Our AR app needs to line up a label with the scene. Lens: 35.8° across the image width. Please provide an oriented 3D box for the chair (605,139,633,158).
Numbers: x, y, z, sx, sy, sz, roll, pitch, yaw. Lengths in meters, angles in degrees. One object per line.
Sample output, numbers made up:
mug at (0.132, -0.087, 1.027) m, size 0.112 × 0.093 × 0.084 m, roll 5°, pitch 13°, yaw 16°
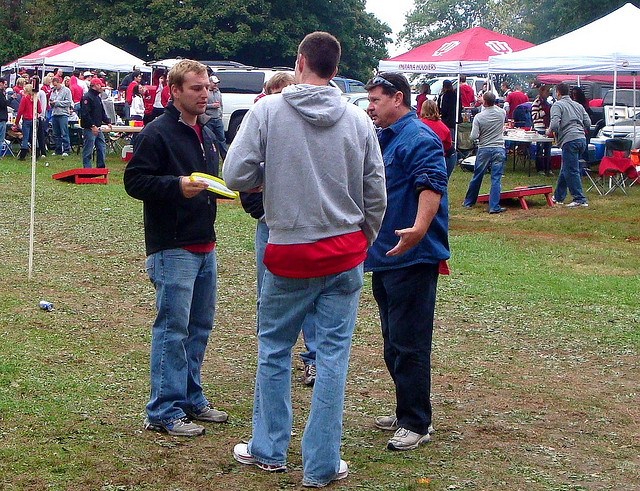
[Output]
chair at (5.623, -1.885, 18.797) m, size 0.441 × 0.414 × 0.605 m, roll 4°, pitch -20°, yaw 7°

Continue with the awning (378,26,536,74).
awning at (3.094, -4.974, 24.786) m, size 4.545 × 0.834 × 4.172 m, roll 3°, pitch 16°, yaw 19°

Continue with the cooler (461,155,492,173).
cooler at (3.405, -1.826, 21.887) m, size 0.756 × 0.399 × 0.807 m, roll 1°, pitch 3°, yaw 5°

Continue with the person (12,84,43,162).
person at (-6.348, -2.640, 21.041) m, size 0.660 × 1.562 × 0.716 m, roll 8°, pitch 7°, yaw 31°

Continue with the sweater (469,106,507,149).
sweater at (2.810, -2.002, 16.664) m, size 0.557 × 0.720 × 0.515 m, roll 2°, pitch 6°, yaw 7°

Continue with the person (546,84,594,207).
person at (4.370, -1.799, 17.375) m, size 0.725 × 2.126 × 1.573 m, roll 3°, pitch 7°, yaw 14°

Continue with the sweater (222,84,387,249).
sweater at (-0.326, -0.650, 7.940) m, size 1.615 × 1.197 × 1.020 m, roll 1°, pitch 3°, yaw -39°

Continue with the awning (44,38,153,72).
awning at (-5.897, -5.014, 26.419) m, size 1.698 × 0.388 × 1.479 m, roll 1°, pitch 2°, yaw 25°

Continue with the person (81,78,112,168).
person at (-4.445, -2.439, 19.417) m, size 0.495 × 1.779 × 1.319 m, roll 0°, pitch 7°, yaw -13°

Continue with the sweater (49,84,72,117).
sweater at (-5.618, -3.160, 21.344) m, size 0.432 × 0.668 × 0.626 m, roll -1°, pitch 6°, yaw -14°

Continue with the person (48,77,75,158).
person at (-5.721, -2.854, 21.801) m, size 0.466 × 1.768 × 1.483 m, roll -1°, pitch 7°, yaw -15°

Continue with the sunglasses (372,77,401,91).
sunglasses at (0.518, -1.336, 8.108) m, size 0.152 × 0.038 × 0.123 m, roll 18°, pitch -2°, yaw -40°

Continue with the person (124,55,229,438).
person at (-1.187, 0.026, 8.197) m, size 0.819 × 3.106 × 0.528 m, roll -1°, pitch 7°, yaw -21°

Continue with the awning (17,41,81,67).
awning at (-8.130, -5.624, 28.876) m, size 1.636 × 0.474 × 1.629 m, roll 1°, pitch 12°, yaw 36°

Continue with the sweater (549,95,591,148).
sweater at (4.178, -2.131, 16.801) m, size 0.575 × 0.884 × 0.464 m, roll 2°, pitch 7°, yaw 8°

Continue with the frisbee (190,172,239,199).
frisbee at (-0.860, -0.496, 7.943) m, size 0.314 × 0.038 × 0.218 m, roll 24°, pitch 23°, yaw 11°

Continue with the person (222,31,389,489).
person at (-0.123, 0.106, 7.721) m, size 1.220 × 3.545 × 0.448 m, roll 1°, pitch 7°, yaw 3°

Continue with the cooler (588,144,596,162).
cooler at (5.806, -2.022, 21.247) m, size 0.172 × 0.334 × 0.466 m, roll 3°, pitch 6°, yaw 15°
